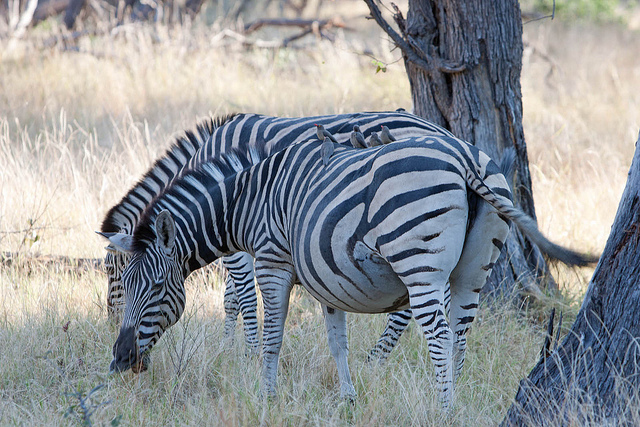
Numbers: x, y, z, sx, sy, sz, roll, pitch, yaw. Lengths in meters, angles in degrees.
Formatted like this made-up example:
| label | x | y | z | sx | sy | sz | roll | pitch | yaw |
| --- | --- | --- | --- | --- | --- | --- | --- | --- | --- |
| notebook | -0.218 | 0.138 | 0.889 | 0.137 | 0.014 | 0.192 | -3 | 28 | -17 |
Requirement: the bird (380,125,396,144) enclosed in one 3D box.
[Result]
| label | x | y | z | sx | sy | sz | roll | pitch | yaw |
| --- | --- | --- | --- | --- | --- | --- | --- | --- | --- |
| bird | 0.829 | -1.016 | 12.369 | 0.205 | 0.245 | 0.128 | -5 | -3 | -38 |

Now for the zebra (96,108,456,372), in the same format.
| label | x | y | z | sx | sy | sz | roll | pitch | yaw |
| --- | --- | --- | --- | --- | --- | --- | --- | --- | --- |
| zebra | -0.211 | 0.710 | 13.534 | 5.241 | 3.723 | 1.672 | 0 | 3 | 1 |

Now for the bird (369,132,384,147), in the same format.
| label | x | y | z | sx | sy | sz | roll | pitch | yaw |
| --- | --- | --- | --- | --- | --- | --- | --- | --- | --- |
| bird | 0.702 | -0.961 | 12.407 | 0.180 | 0.203 | 0.110 | -25 | 16 | -22 |

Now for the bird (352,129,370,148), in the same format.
| label | x | y | z | sx | sy | sz | roll | pitch | yaw |
| --- | --- | --- | --- | --- | --- | --- | --- | --- | --- |
| bird | 0.509 | -0.951 | 12.407 | 0.073 | 0.137 | 0.302 | 1 | -31 | 43 |
